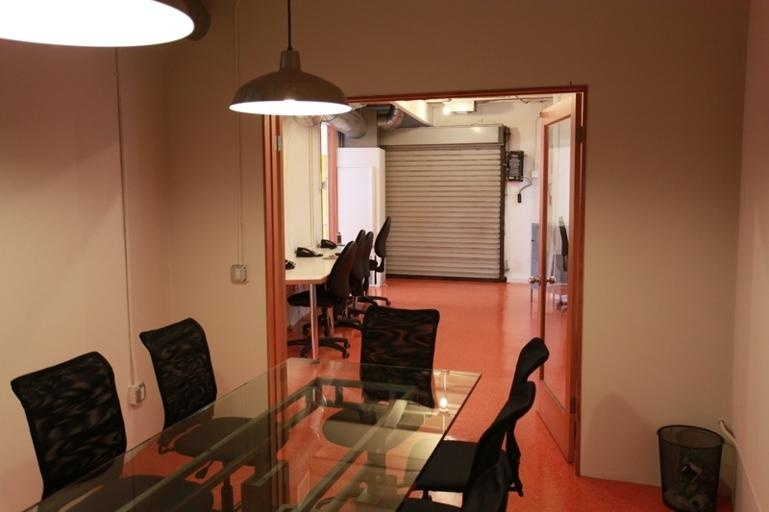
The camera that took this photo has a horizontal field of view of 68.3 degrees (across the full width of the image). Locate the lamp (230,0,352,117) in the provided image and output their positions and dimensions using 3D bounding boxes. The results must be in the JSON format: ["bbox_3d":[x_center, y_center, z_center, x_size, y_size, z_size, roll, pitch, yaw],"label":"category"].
[{"bbox_3d":[-0.499,-1.008,3.340,0.684,0.738,0.744,3,12,19],"label":"lamp"}]

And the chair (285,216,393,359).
[{"bbox_3d":[-0.623,0.378,6.954,0.560,0.824,1.739,3,7,9],"label":"chair"}]

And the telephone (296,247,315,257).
[{"bbox_3d":[-0.995,-0.052,7.457,0.320,0.132,0.103,0,7,5],"label":"telephone"}]
